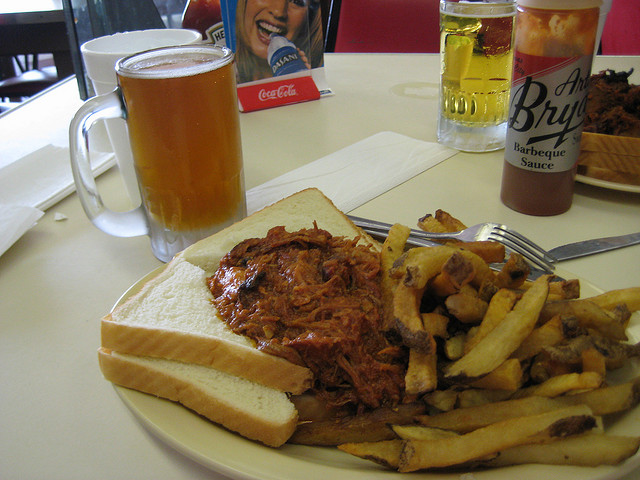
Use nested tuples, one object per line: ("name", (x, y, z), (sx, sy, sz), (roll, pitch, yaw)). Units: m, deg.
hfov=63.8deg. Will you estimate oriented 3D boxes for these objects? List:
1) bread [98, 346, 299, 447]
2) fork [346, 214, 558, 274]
("bread", (-0.242, 0.298, 1.032), (0.333, 0.081, 0.187), (23, 6, 5))
("fork", (0.320, 0.011, 1.225), (0.416, 0.049, 0.046), (13, 54, 17))
